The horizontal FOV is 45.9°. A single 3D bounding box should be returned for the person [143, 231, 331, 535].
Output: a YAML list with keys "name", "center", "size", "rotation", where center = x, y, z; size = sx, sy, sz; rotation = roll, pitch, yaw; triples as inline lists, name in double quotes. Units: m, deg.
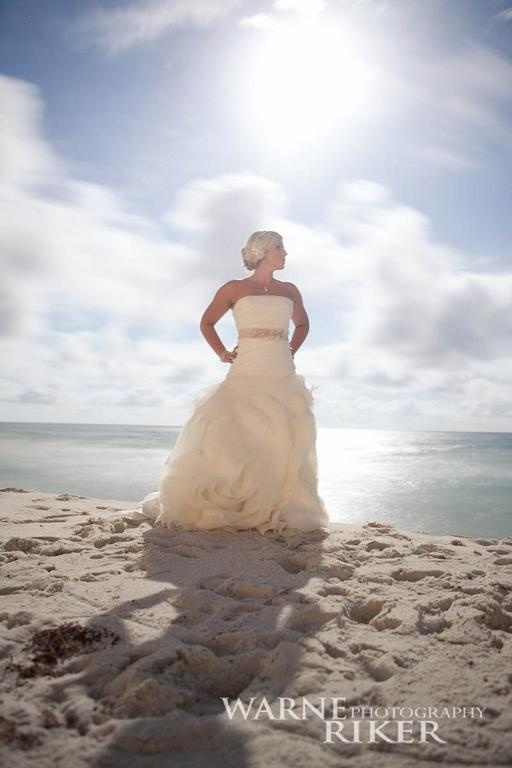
- name: "person"
  center: [-0.038, -0.129, 5.143]
  size: [1.410, 2.609, 1.106]
  rotation: [4, -5, -8]
